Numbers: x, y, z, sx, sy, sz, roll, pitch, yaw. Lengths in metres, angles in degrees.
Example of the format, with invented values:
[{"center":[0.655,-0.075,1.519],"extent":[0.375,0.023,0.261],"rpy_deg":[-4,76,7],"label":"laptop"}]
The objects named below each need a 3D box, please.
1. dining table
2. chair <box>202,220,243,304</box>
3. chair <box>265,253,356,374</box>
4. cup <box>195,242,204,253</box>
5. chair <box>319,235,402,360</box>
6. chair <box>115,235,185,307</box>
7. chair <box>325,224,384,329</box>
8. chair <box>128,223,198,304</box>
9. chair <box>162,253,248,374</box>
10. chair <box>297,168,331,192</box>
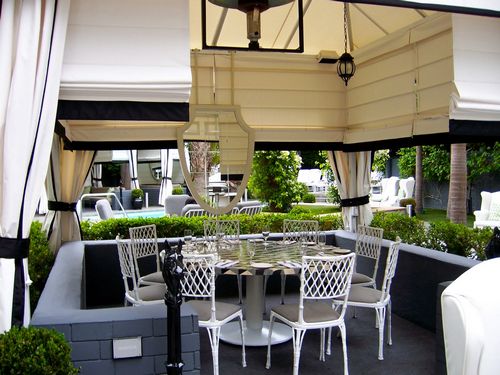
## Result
[{"center":[0.058,1.188,5.226],"extent":[1.514,1.016,1.626],"rpy_deg":[-2,5,-16],"label":"dining table"},{"center":[-0.354,1.024,6.407],"extent":[0.461,1.067,0.572],"rpy_deg":[-4,13,-8],"label":"chair"},{"center":[0.680,1.189,4.779],"extent":[0.822,1.141,1.753],"rpy_deg":[-1,0,14],"label":"chair"},{"center":[-0.534,0.630,4.856],"extent":[0.087,0.120,0.094],"rpy_deg":[0,2,0],"label":"cup"},{"center":[1.220,1.126,4.886],"extent":[0.631,1.227,0.592],"rpy_deg":[3,4,29],"label":"chair"},{"center":[-1.132,1.094,5.025],"extent":[0.563,1.045,0.535],"rpy_deg":[-3,-6,-26],"label":"chair"},{"center":[1.327,1.086,5.738],"extent":[0.529,1.141,0.587],"rpy_deg":[10,-9,-31],"label":"chair"},{"center":[-1.086,1.026,5.601],"extent":[0.613,1.159,0.523],"rpy_deg":[-5,0,38],"label":"chair"},{"center":[-0.378,1.180,4.340],"extent":[0.543,0.872,0.670],"rpy_deg":[-1,0,25],"label":"chair"},{"center":[3.060,-0.043,22.428],"extent":[1.006,1.204,1.917],"rpy_deg":[3,18,3],"label":"chair"}]
